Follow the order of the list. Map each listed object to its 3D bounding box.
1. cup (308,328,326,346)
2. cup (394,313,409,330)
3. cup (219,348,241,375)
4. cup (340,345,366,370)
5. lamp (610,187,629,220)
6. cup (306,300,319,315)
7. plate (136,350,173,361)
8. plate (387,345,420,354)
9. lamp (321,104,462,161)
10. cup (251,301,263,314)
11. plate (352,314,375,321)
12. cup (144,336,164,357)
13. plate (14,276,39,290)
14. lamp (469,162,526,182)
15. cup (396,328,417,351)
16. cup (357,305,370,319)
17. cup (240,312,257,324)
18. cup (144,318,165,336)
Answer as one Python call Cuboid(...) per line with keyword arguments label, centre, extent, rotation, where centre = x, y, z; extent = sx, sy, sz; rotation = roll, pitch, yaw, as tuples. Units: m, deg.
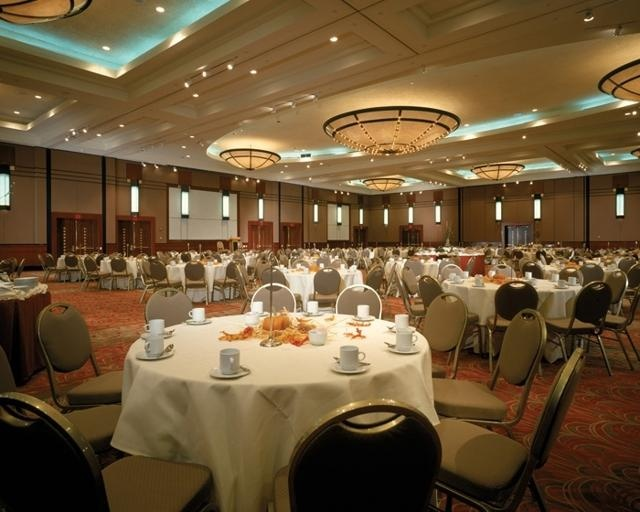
Cuboid(label="cup", centre=(-0.024, 0.494, 2.586), extent=(0.096, 0.059, 0.088), rotation=(-2, 1, 0))
Cuboid(label="cup", centre=(0.515, 0.424, 2.749), extent=(0.101, 0.092, 0.097), rotation=(-1, 5, 0))
Cuboid(label="cup", centre=(-0.448, 0.536, 2.139), extent=(0.084, 0.088, 0.128), rotation=(0, 4, 0))
Cuboid(label="cup", centre=(0.159, 0.536, 2.221), extent=(0.089, 0.097, 0.139), rotation=(-9, -16, 29))
Cuboid(label="lamp", centre=(11.961, -2.148, 17.070), extent=(0.408, 1.261, 0.204), rotation=(5, 11, 27))
Cuboid(label="cup", centre=(-0.065, 0.408, 3.327), extent=(0.108, 0.107, 0.102), rotation=(2, 3, 0))
Cuboid(label="plate", centre=(-0.928, 0.560, 2.371), extent=(0.199, 0.026, 0.142), rotation=(-1, 8, -4))
Cuboid(label="plate", centre=(0.476, 0.548, 2.465), extent=(0.182, 0.025, 0.114), rotation=(1, 8, 9))
Cuboid(label="lamp", centre=(1.565, -2.901, 9.472), extent=(1.589, 0.346, 1.540), rotation=(1, -3, -15))
Cuboid(label="cup", centre=(-0.498, 0.403, 3.248), extent=(0.101, 0.085, 0.075), rotation=(0, 0, 9))
Cuboid(label="plate", centre=(0.320, 0.470, 3.199), extent=(0.177, 0.030, 0.168), rotation=(1, 8, 10))
Cuboid(label="cup", centre=(-0.917, 0.503, 2.349), extent=(0.082, 0.105, 0.126), rotation=(3, 5, 7))
Cuboid(label="plate", centre=(-2.996, 0.275, 4.337), extent=(0.156, 0.085, 0.154), rotation=(0, -4, 23))
Cuboid(label="lamp", centre=(6.811, -3.263, 16.187), extent=(1.169, 0.300, 1.144), rotation=(1, -4, -36))
Cuboid(label="cup", centre=(0.508, 0.504, 2.520), extent=(0.090, 0.098, 0.139), rotation=(-2, -8, 6))
Cuboid(label="cup", centre=(0.332, 0.427, 3.242), extent=(0.098, 0.096, 0.099), rotation=(-1, 0, 0))
Cuboid(label="cup", centre=(-0.493, 0.433, 2.952), extent=(0.082, 0.057, 0.080), rotation=(1, 4, 0))
Cuboid(label="cup", centre=(-0.971, 0.418, 2.502), extent=(0.084, 0.097, 0.148), rotation=(-2, 9, -15))
